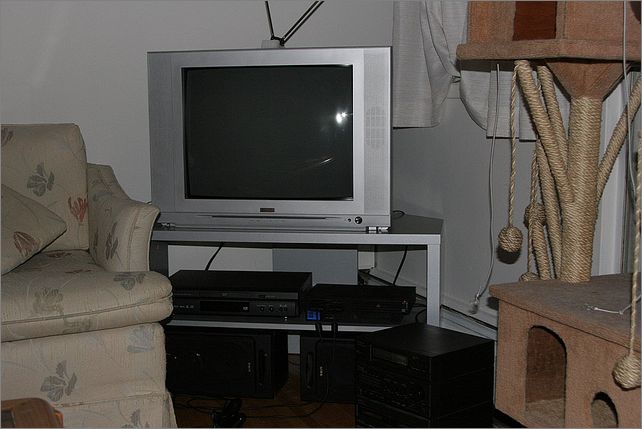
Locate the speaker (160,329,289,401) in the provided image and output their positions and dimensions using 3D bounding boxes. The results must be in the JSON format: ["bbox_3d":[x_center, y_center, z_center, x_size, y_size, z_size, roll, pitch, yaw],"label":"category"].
[{"bbox_3d":[-0.447,0.616,2.709,0.570,0.327,0.317,2,7,13],"label":"speaker"}]

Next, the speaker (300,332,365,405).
[{"bbox_3d":[0.081,0.676,2.632,0.210,0.278,0.314,-1,-10,44],"label":"speaker"}]

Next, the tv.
[{"bbox_3d":[-0.185,-0.334,2.845,1.088,0.748,0.573,1,10,6],"label":"tv"}]

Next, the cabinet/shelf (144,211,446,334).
[{"bbox_3d":[-0.118,0.190,3.007,1.379,0.402,0.966,1,5,9],"label":"cabinet/shelf"}]
